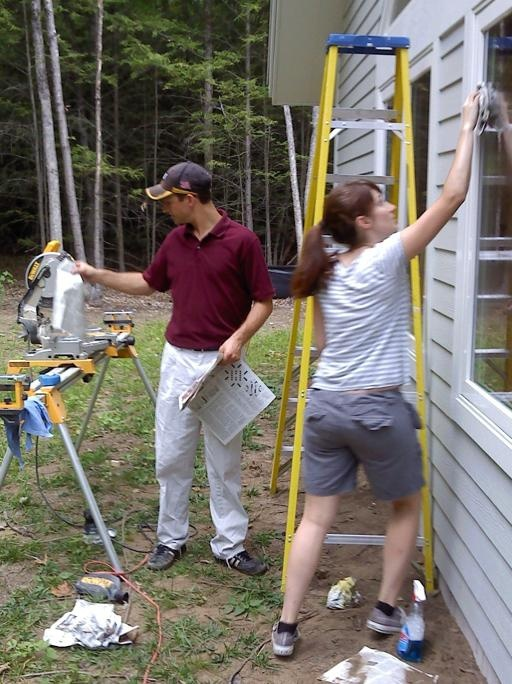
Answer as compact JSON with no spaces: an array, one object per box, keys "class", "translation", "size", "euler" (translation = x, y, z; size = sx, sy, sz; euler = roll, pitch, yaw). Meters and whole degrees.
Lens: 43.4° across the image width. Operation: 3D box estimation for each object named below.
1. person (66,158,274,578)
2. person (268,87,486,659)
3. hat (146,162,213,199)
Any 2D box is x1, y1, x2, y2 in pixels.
[{"class":"person","translation":[-0.356,0.127,3.394],"size":[0.957,1.882,1.081],"euler":[3,4,44]},{"class":"person","translation":[0.398,0.148,2.441],"size":[0.790,1.888,0.628],"euler":[-1,4,-3]},{"class":"hat","translation":[-0.351,-0.750,2.994],"size":[0.294,0.191,0.205],"euler":[0,10,-16]}]
